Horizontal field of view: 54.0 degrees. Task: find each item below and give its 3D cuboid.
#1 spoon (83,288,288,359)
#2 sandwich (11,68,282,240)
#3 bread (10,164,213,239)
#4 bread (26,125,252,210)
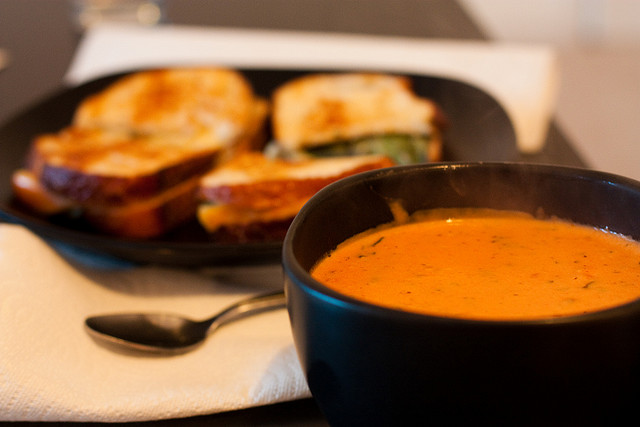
[{"bbox_3d":[-0.145,0.119,0.668,0.257,0.035,0.057,-7,30,-15],"label":"spoon"},{"bbox_3d":[-0.225,-0.102,0.862,0.222,0.084,0.300,18,39,28],"label":"sandwich"},{"bbox_3d":[-0.256,-0.054,0.923,0.278,0.062,0.273,6,17,9],"label":"bread"},{"bbox_3d":[-0.240,-0.082,0.830,0.199,0.044,0.137,-5,18,-16],"label":"bread"}]
